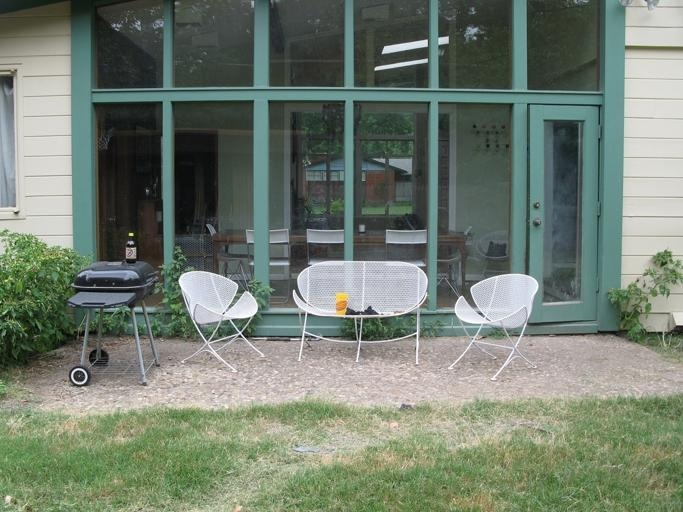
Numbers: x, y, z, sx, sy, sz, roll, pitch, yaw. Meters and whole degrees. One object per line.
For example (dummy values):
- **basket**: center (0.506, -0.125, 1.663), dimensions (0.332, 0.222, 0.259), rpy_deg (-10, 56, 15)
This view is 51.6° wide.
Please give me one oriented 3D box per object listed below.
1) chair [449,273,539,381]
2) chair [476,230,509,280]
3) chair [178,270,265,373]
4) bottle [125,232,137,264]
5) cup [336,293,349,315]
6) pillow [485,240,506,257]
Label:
- **chair**: center (1.560, 0.637, 7.056), dimensions (0.762, 0.972, 0.819), rpy_deg (-7, -1, -11)
- **chair**: center (1.617, -0.045, 7.650), dimensions (0.426, 0.569, 0.414), rpy_deg (-1, 21, 12)
- **chair**: center (-1.268, 0.574, 7.003), dimensions (0.579, 0.713, 0.528), rpy_deg (11, -26, -19)
- **bottle**: center (-1.886, -0.093, 6.300), dimensions (0.083, 0.260, 0.250), rpy_deg (-2, 12, -12)
- **cup**: center (-0.004, 0.468, 6.867), dimensions (0.146, 0.240, 0.155), rpy_deg (1, 1, 0)
- **pillow**: center (1.642, -0.083, 7.485), dimensions (0.165, 0.170, 0.052), rpy_deg (9, 5, 5)
